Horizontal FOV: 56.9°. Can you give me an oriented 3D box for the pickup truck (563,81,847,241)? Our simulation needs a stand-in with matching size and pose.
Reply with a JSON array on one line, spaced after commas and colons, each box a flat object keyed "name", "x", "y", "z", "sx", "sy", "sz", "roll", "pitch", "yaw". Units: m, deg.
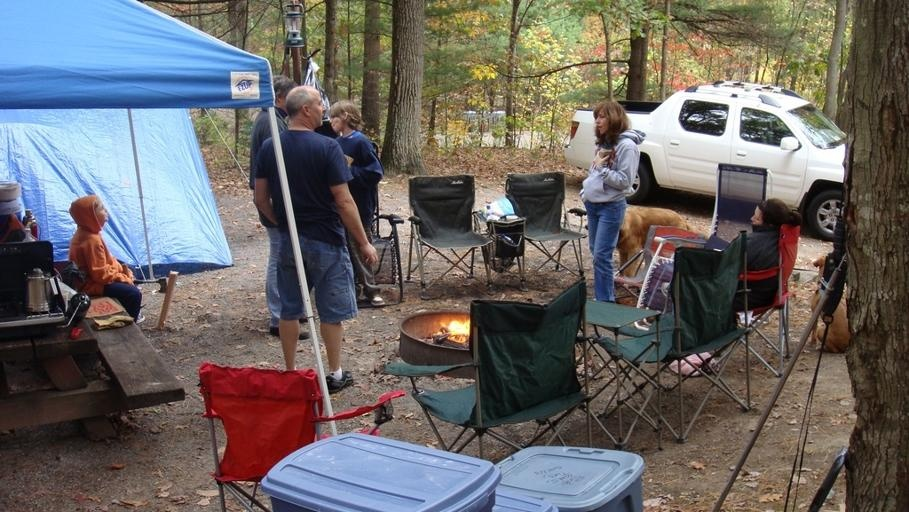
[{"name": "pickup truck", "x": 3.992, "y": -1.633, "z": 13.568, "sx": 4.497, "sy": 1.546, "sz": 2.318, "roll": 7, "pitch": 12, "yaw": 31}]

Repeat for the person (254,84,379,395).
[{"name": "person", "x": -1.266, "y": -0.094, "z": 7.686, "sx": 1.095, "sy": 2.868, "sz": 0.629, "roll": 1, "pitch": 17, "yaw": 7}]

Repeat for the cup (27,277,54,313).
[{"name": "cup", "x": -3.581, "y": 0.329, "z": 7.232, "sx": 0.194, "sy": 0.302, "sz": 0.203, "roll": -1, "pitch": 16, "yaw": 0}]

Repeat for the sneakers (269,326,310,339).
[{"name": "sneakers", "x": -1.754, "y": 0.824, "z": 8.935, "sx": 0.521, "sy": 0.174, "sz": 0.162, "roll": -2, "pitch": 3, "yaw": 9}]

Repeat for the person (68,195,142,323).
[{"name": "person", "x": -3.522, "y": 0.041, "z": 8.451, "sx": 0.611, "sy": 1.315, "sz": 0.428, "roll": -8, "pitch": 18, "yaw": -23}]

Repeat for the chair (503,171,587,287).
[{"name": "chair", "x": 1.209, "y": -0.356, "z": 10.850, "sx": 0.933, "sy": 1.203, "sz": 1.088, "roll": -9, "pitch": -19, "yaw": 33}]

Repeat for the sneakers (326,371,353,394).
[{"name": "sneakers", "x": -1.093, "y": 1.215, "z": 8.025, "sx": 0.135, "sy": 0.128, "sz": 0.318, "roll": 2, "pitch": 7, "yaw": 22}]

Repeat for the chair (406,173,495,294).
[{"name": "chair", "x": -0.058, "y": -0.289, "z": 10.571, "sx": 1.034, "sy": 1.144, "sz": 0.961, "roll": -3, "pitch": -16, "yaw": -2}]
